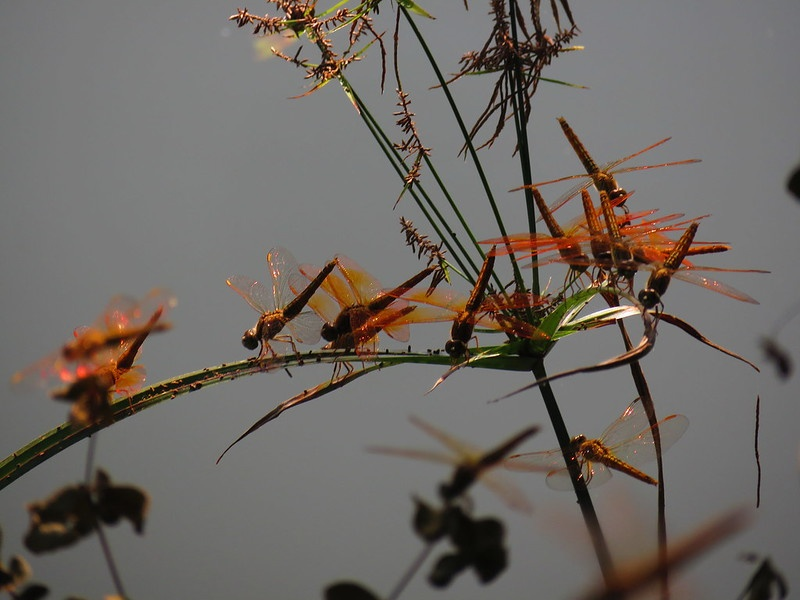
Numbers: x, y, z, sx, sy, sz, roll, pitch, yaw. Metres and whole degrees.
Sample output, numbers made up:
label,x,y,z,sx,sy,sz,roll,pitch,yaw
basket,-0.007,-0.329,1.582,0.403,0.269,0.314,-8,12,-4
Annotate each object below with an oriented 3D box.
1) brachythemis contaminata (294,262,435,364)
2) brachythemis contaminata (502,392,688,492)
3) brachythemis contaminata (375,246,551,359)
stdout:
label,x,y,z,sx,sy,sz,roll,pitch,yaw
brachythemis contaminata,-0.071,0.017,1.746,0.130,0.142,0.073,-22,-26,-3
brachythemis contaminata,0.288,0.231,1.767,0.253,0.110,0.125,-20,-59,-1
brachythemis contaminata,0.107,0.019,1.713,0.199,0.145,0.051,8,-18,28
